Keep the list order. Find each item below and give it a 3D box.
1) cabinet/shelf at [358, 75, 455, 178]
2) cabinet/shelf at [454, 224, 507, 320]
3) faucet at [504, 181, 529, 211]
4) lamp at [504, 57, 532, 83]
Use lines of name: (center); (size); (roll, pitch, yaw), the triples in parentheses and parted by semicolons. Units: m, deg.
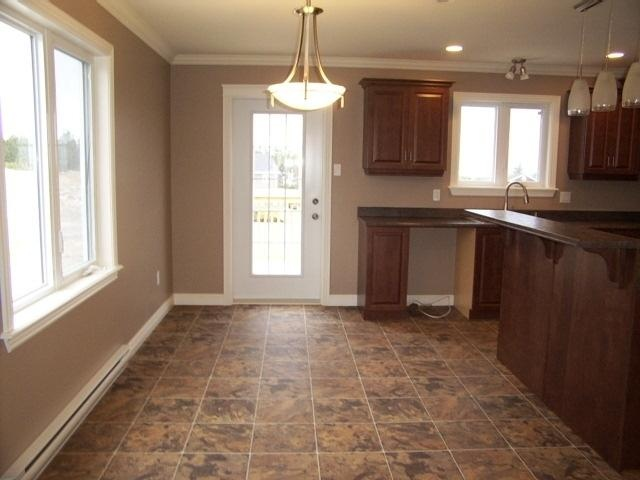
cabinet/shelf: (0.857, -1.175, 5.074); (1.002, 0.983, 0.386); (0, 7, -2)
cabinet/shelf: (1.603, 0.319, 5.225); (0.291, 0.962, 0.568); (-6, 11, -29)
faucet: (2.071, -0.459, 5.262); (0.258, 0.308, 0.694); (3, 9, 22)
lamp: (2.035, -1.771, 5.162); (0.206, 0.233, 0.148); (1, -15, 5)
